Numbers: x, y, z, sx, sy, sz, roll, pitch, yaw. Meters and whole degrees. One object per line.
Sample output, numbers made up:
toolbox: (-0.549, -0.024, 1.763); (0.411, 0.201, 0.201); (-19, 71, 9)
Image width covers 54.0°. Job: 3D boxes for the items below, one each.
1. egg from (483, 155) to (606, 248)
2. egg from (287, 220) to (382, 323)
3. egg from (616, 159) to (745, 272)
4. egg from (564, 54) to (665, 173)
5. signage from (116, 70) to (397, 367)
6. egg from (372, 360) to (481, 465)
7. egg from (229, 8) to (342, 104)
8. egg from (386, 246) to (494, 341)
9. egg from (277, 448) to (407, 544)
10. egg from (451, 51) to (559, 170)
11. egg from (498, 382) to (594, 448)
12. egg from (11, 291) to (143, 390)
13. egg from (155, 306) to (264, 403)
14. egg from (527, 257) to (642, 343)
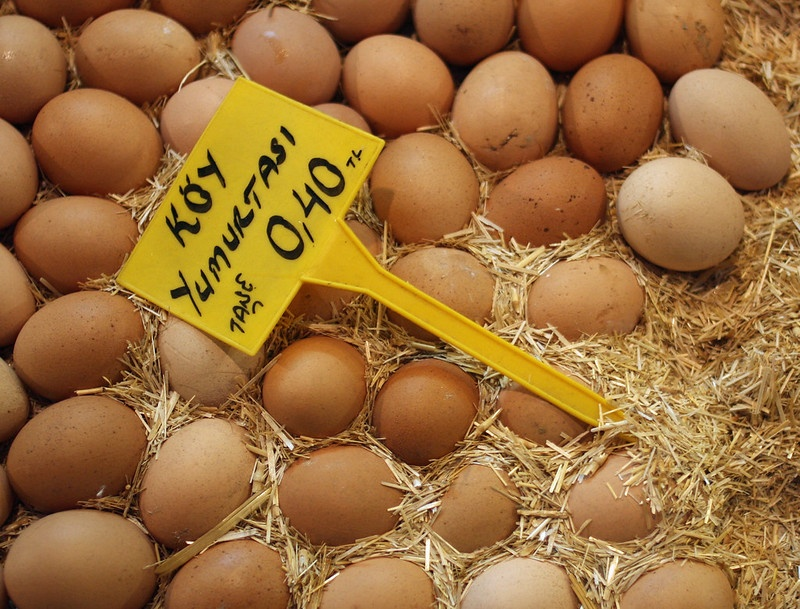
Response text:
egg: (0.321, -0.224, 1.718); (0.263, 0.061, 0.184); (-14, 84, -3)
egg: (-0.149, -0.107, 1.741); (0.140, 0.057, 0.249); (29, 93, -38)
egg: (0.593, -0.190, 1.764); (0.249, 0.200, 0.212); (32, 88, 5)
egg: (0.465, -0.430, 1.821); (0.182, 0.190, 0.264); (28, 88, 2)
signage: (-0.307, -0.186, 1.622); (0.346, 0.086, 0.581); (35, 84, 2)
egg: (0.059, 0.208, 1.709); (0.171, 0.220, 0.173); (40, 120, 5)
egg: (-0.254, -0.559, 1.836); (0.226, 0.180, 0.187); (29, 96, -3)
egg: (0.081, -0.007, 1.752); (0.182, 0.145, 0.215); (20, 61, -7)
egg: (-0.117, 0.361, 1.600); (0.203, 0.172, 0.189); (-2, 85, -13)
egg: (0.240, -0.427, 1.732); (0.194, 0.189, 0.274); (41, 69, -41)
egg: (0.308, 0.208, 1.615); (0.136, 0.114, 0.085); (23, 90, -9)
egg: (-0.666, 0.062, 1.669); (0.233, 0.172, 0.185); (-39, 107, -19)
egg: (-0.436, 0.112, 1.751); (0.166, 0.181, 0.231); (6, 106, -11)
egg: (0.388, -0.014, 1.668); (0.199, 0.129, 0.169); (1, 102, -4)
